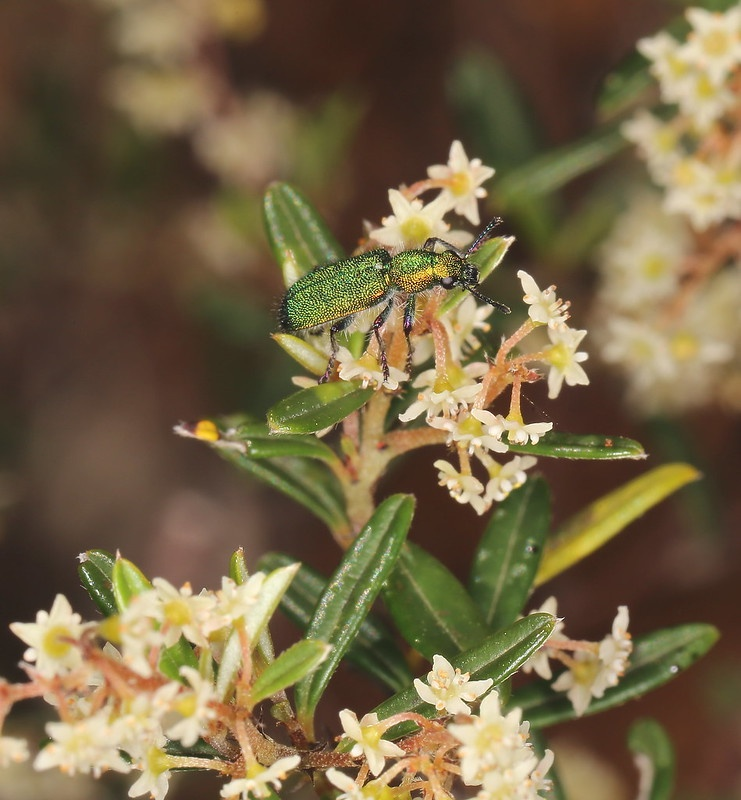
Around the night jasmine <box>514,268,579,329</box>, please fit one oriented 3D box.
[{"bbox_3d":[0.346,-0.198,2.048,0.141,0.153,0.131,-1,-77,-1],"label":"night jasmine"}]
